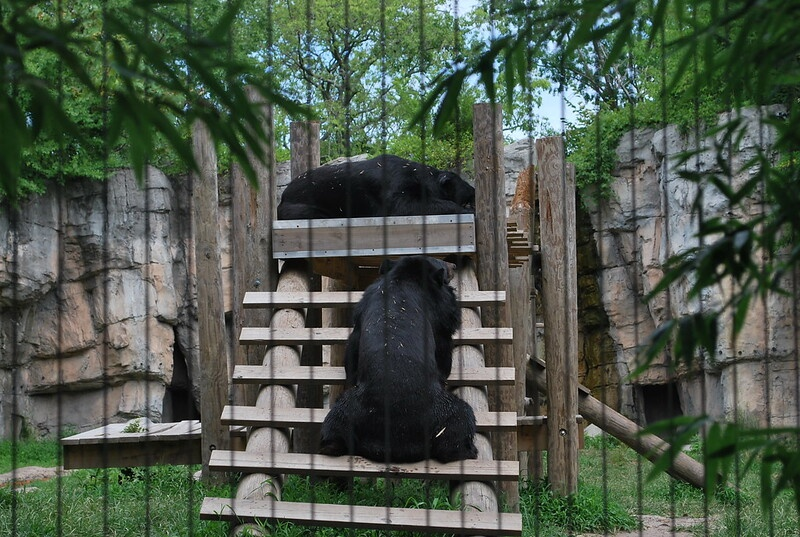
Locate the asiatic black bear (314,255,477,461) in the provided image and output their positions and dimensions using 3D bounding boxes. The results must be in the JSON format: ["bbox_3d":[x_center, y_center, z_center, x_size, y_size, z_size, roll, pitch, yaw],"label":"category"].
[{"bbox_3d":[0.027,1.140,15.078,1.832,2.627,1.395,-1,-2,-9],"label":"asiatic black bear"}]

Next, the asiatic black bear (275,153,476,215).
[{"bbox_3d":[-0.375,-1.127,17.245,2.263,0.908,1.283,0,3,-5],"label":"asiatic black bear"}]
